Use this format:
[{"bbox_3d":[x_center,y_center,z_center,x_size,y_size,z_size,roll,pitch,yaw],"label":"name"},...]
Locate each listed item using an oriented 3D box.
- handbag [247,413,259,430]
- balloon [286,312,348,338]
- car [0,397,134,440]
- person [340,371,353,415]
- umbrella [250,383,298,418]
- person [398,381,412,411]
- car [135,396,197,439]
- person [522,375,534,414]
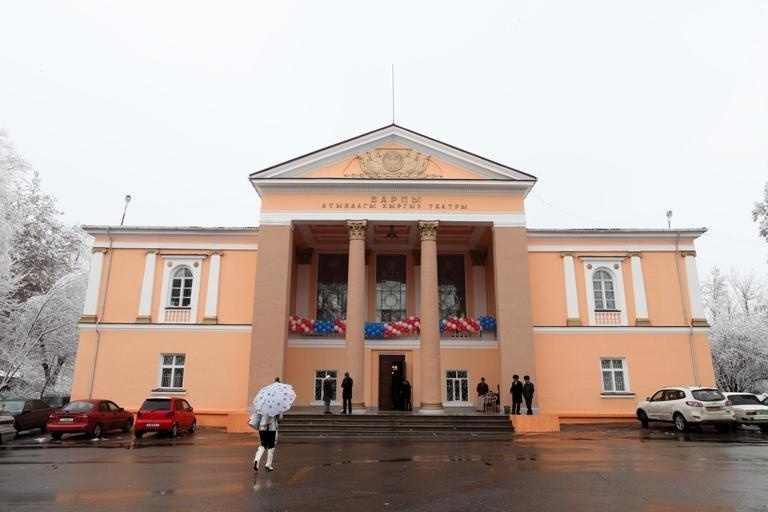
[{"bbox_3d":[-3.380,4.238,12.262,0.239,0.362,0.602,4,-15,-19],"label":"handbag"},{"bbox_3d":[-3.800,3.990,26.779,1.833,0.641,1.816,-8,-22,33],"label":"balloon"},{"bbox_3d":[-12.602,6.945,20.440,1.636,1.509,2.992,-4,-14,10],"label":"car"},{"bbox_3d":[-1.717,6.381,22.212,0.499,1.867,0.995,0,-14,-5],"label":"person"},{"bbox_3d":[-2.885,3.741,12.387,0.997,0.810,0.520,3,-15,-15],"label":"umbrella"},{"bbox_3d":[1.152,7.452,25.490,0.708,1.514,1.700,-1,-14,1],"label":"person"},{"bbox_3d":[-9.460,6.953,20.727,1.239,1.559,2.291,-7,-15,23],"label":"car"},{"bbox_3d":[6.870,6.515,22.401,0.481,1.753,0.778,-5,-15,15],"label":"person"}]
